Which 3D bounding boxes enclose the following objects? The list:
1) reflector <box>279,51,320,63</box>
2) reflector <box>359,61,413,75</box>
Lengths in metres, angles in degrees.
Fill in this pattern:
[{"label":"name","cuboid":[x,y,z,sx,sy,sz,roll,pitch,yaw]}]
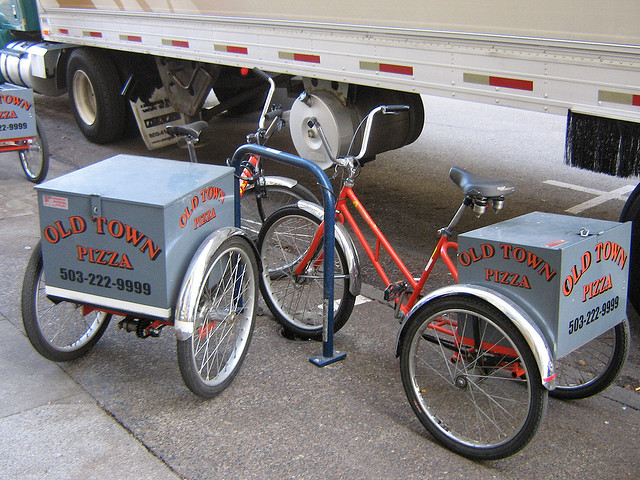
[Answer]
[{"label":"reflector","cuboid":[-0.206,-1.759,5.206,0.526,0.067,0.008,20,28,36]},{"label":"reflector","cuboid":[0.555,-1.459,4.594,0.016,0.069,0.572,-18,30,-41]}]
